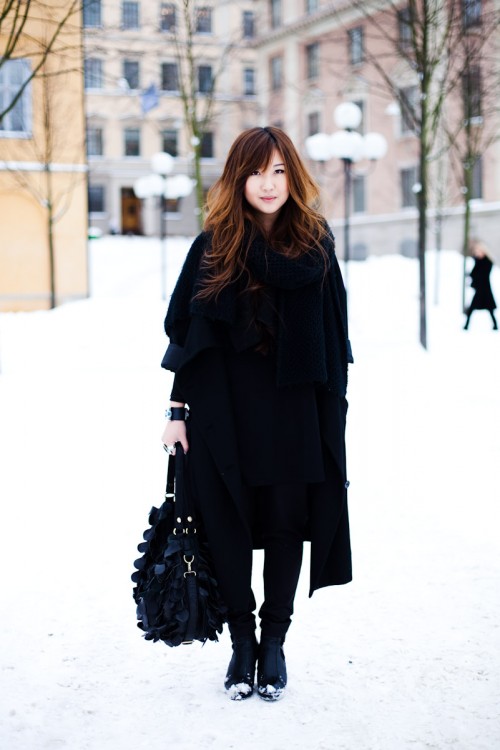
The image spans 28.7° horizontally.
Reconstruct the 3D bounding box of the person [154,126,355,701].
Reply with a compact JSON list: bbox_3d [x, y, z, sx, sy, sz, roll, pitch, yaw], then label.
[{"bbox_3d":[0.022,0.126,3.223,0.613,1.845,0.367,0,9,5],"label":"person"}]

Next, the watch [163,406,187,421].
[{"bbox_3d":[-0.248,0.129,3.201,0.044,0.042,0.058,2,-1,29],"label":"watch"}]

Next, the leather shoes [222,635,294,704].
[{"bbox_3d":[0.022,0.990,3.265,0.191,0.127,0.319,-1,0,0],"label":"leather shoes"}]

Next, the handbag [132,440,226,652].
[{"bbox_3d":[-0.233,0.591,3.186,0.299,0.706,0.241,1,10,10],"label":"handbag"}]
